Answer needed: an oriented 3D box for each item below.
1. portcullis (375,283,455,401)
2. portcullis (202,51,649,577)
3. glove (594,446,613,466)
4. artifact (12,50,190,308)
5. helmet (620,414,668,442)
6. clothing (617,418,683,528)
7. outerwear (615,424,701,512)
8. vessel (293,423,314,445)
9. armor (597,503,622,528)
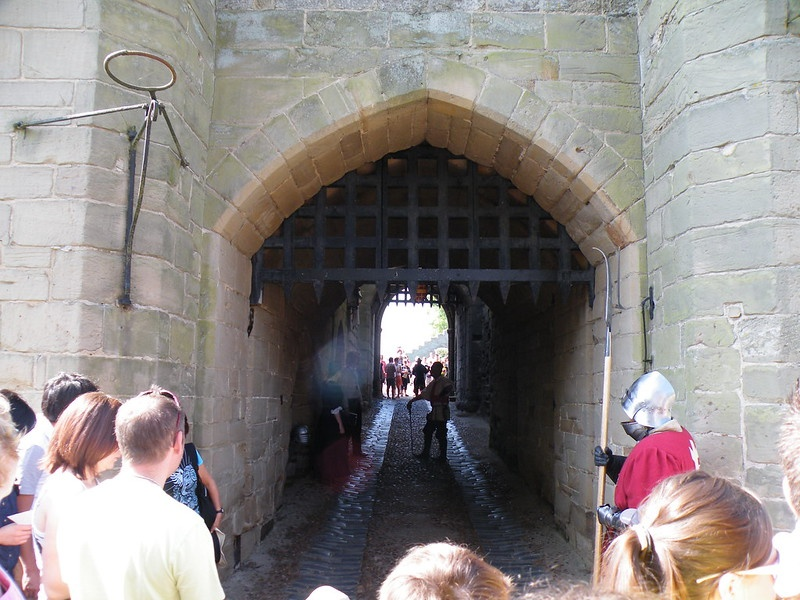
[{"bbox_3d":[0.421,1.298,17.501,1.601,3.348,1.905,3,-48,0],"label":"portcullis"},{"bbox_3d":[0.024,-0.146,5.105,3.107,3.306,0.363,-10,-27,29],"label":"portcullis"},{"bbox_3d":[1.133,0.868,3.756,0.093,0.112,0.258,2,0,18],"label":"glove"},{"bbox_3d":[-1.750,-0.721,4.045,0.762,1.521,0.567,2,1,-4],"label":"artifact"},{"bbox_3d":[1.256,0.671,3.554,0.124,0.079,0.161,10,-8,-33],"label":"helmet"},{"bbox_3d":[1.089,0.745,2.918,0.456,0.395,0.265,0,4,-36],"label":"clothing"},{"bbox_3d":[1.140,0.737,2.966,0.479,0.370,0.303,-2,2,4],"label":"outerwear"},{"bbox_3d":[-1.137,1.571,7.899,0.153,0.218,0.203,8,-7,-12],"label":"vessel"},{"bbox_3d":[1.025,1.060,3.275,0.078,0.054,0.123,30,-3,-15],"label":"armor"}]
